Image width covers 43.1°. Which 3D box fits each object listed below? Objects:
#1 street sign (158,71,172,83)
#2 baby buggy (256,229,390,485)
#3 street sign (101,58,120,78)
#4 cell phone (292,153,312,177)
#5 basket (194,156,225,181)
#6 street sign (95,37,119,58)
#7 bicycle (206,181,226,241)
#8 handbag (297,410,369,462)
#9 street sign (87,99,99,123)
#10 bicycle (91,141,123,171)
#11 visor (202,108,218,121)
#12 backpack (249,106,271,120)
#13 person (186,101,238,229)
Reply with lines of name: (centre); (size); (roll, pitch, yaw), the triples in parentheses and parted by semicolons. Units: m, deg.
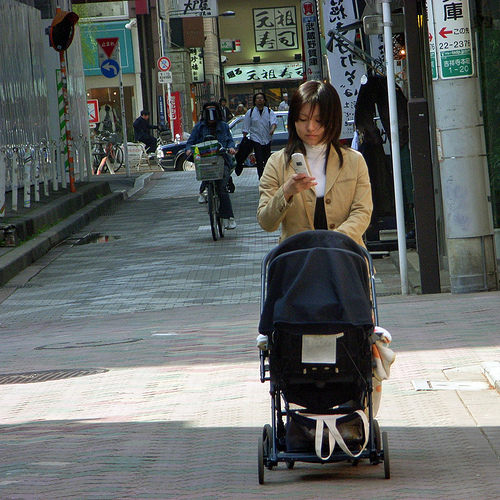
street sign: (-4.163, -8.229, 30.304); (0.572, 0.562, 0.444); (-5, 4, -6)
baby buggy: (0.250, 0.444, 2.482); (0.527, 1.039, 0.553); (-3, 4, 11)
street sign: (-4.700, -5.980, 20.994); (0.670, 0.601, 0.454); (-4, 4, 0)
cell phone: (0.194, -0.326, 2.472); (0.064, 0.086, 0.108); (-3, 4, 11)
basket: (-0.779, -1.511, 11.751); (0.372, 0.328, 0.506); (-2, 8, 1)
street sign: (-4.664, -6.558, 20.529); (0.641, 0.637, 0.495); (-5, 4, -12)
bicycle: (-0.685, -0.729, 11.976); (0.232, 1.110, 0.803); (-3, 4, 13)
handbag: (0.354, 0.704, 2.471); (0.208, 0.091, 0.199); (6, 51, -9)
street sign: (-6.313, -5.501, 25.099); (0.393, 0.980, 1.260); (-5, 4, -14)
bicycle: (-6.064, -3.835, 26.114); (1.162, 1.174, 1.727); (-4, 4, 7)
visor: (-0.801, -2.608, 12.320); (0.293, 0.242, 0.141); (-4, 4, -2)
backpack: (0.266, -3.716, 17.088); (0.373, 0.340, 0.357); (2, -5, 2)
person: (-0.739, -1.632, 12.214); (0.917, 2.514, 0.955); (-4, 4, -3)
